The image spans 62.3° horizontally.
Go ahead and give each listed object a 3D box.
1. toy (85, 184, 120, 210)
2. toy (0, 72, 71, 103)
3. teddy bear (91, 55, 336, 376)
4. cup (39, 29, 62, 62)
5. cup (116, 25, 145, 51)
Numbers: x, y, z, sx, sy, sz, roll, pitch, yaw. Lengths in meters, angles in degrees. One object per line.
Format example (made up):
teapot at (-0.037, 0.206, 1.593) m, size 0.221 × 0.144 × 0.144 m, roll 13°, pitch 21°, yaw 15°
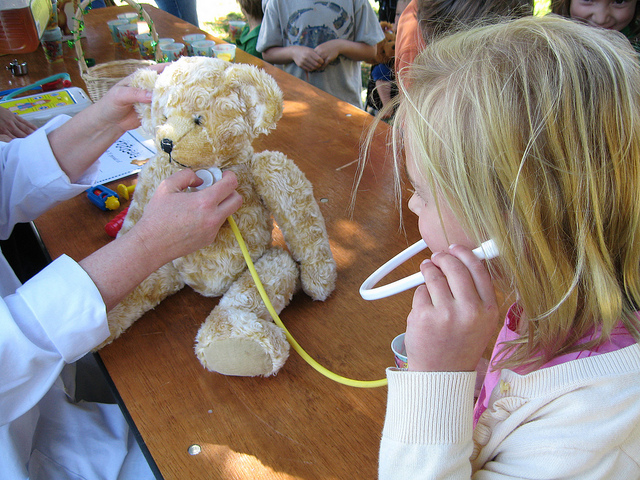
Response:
toy at (-0.566, -0.116, 1.381) m, size 0.049 × 0.039 × 0.093 m, roll -32°, pitch 56°, yaw -28°
toy at (-1.031, -0.556, 1.917) m, size 0.276 × 0.042 × 0.070 m, roll -35°, pitch 84°, yaw -31°
teddy bear at (-0.259, -0.081, 1.139) m, size 0.488 × 0.559 × 0.426 m, roll 8°, pitch 32°, yaw 20°
cup at (-1.098, -0.798, 2.167) m, size 0.088 × 0.121 × 0.096 m, roll 2°, pitch 29°, yaw -1°
cup at (-0.821, -0.888, 2.325) m, size 0.088 × 0.111 × 0.100 m, roll 7°, pitch 35°, yaw 1°
